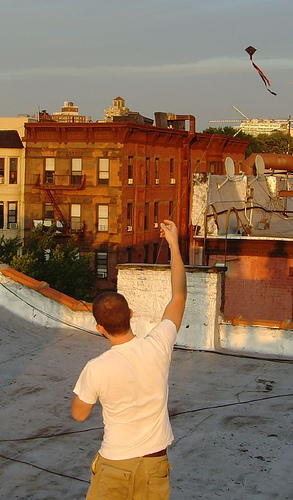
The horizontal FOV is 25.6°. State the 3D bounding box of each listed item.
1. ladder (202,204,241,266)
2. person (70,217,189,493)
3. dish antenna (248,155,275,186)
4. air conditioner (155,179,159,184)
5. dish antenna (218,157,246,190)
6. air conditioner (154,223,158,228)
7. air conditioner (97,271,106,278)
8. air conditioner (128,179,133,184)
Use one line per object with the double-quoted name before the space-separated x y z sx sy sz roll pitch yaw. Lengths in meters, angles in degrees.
"ladder" 1.797 -0.435 17.854 0.871 2.132 0.859 -4 2 31
"person" -0.053 0.744 3.690 0.381 1.432 0.788 6 8 44
"dish antenna" 4.211 -3.091 23.868 0.907 1.587 0.865 -2 4 14
"air conditioner" 0.807 -5.218 48.846 0.081 0.334 0.509 3 7 26
"dish antenna" 2.975 -2.755 22.832 0.814 1.103 3.750 1 7 7
"air conditioner" 0.729 -1.880 48.924 0.274 0.350 0.913 0 7 -1
"air conditioner" -3.046 1.695 43.881 0.571 0.463 0.332 1 0 3
"air conditioner" -1.092 -4.804 44.980 0.079 0.309 0.719 2 7 19
